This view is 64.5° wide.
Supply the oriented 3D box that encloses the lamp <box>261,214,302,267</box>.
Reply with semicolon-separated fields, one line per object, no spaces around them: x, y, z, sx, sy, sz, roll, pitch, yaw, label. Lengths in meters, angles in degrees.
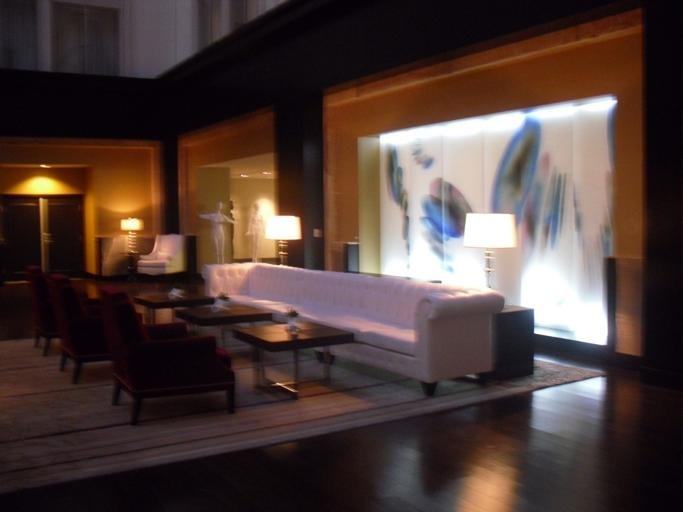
-0.936;-0.202;8.915;0.572;0.869;0.574;2;4;31;lamp
